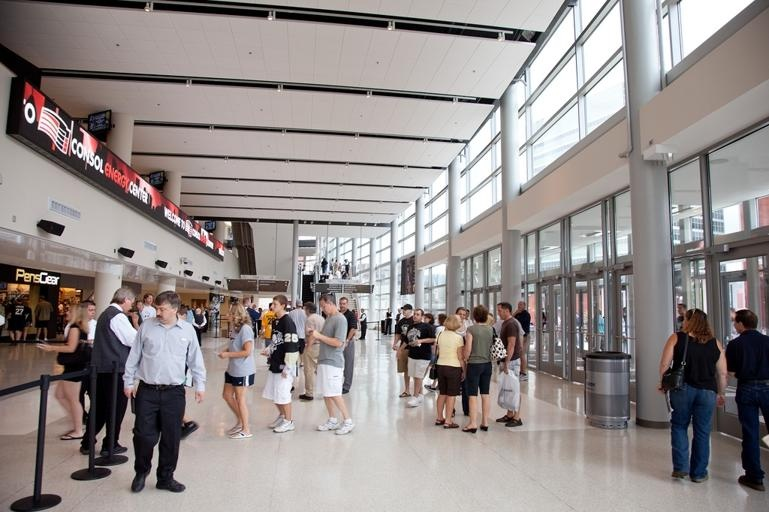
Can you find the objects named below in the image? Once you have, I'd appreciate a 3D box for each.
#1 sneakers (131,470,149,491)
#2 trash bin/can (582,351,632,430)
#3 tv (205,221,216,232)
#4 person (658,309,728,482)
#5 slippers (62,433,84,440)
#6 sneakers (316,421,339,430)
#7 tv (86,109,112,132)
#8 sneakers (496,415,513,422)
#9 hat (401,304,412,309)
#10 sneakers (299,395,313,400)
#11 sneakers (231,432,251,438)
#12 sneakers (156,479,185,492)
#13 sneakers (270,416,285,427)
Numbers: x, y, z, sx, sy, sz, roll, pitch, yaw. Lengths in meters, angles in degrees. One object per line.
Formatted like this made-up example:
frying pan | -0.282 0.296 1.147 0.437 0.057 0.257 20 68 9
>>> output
sneakers | -2.954 2.689 5.951 0.158 0.208 0.230 2 -2 -27
trash bin/can | 3.747 2.258 8.712 1.043 1.550 1.009 -2 -5 26
tv | -10.551 -1.804 29.752 0.724 0.723 0.702 2 -7 -16
person | 3.957 1.761 6.341 0.772 2.163 0.386 0 -2 20
slippers | -4.564 2.644 7.234 0.295 0.061 0.130 4 -4 -3
sneakers | -0.917 2.711 7.952 0.342 0.160 0.135 2 -10 -7
tv | -8.220 -3.884 14.278 0.672 0.644 0.236 1 -2 9
sneakers | 2.037 2.763 8.433 0.237 0.097 0.112 1 -6 9
hat | 0.487 1.029 10.248 0.172 0.087 0.122 10 -14 -28
sneakers | -1.563 2.813 9.830 0.262 0.100 0.099 3 -3 30
sneakers | -2.173 2.687 7.471 0.257 0.088 0.103 7 -12 -17
sneakers | -2.559 2.753 5.913 0.290 0.125 0.149 2 -4 -4
sneakers | -1.770 2.678 7.982 0.315 0.136 0.109 1 -15 -12
